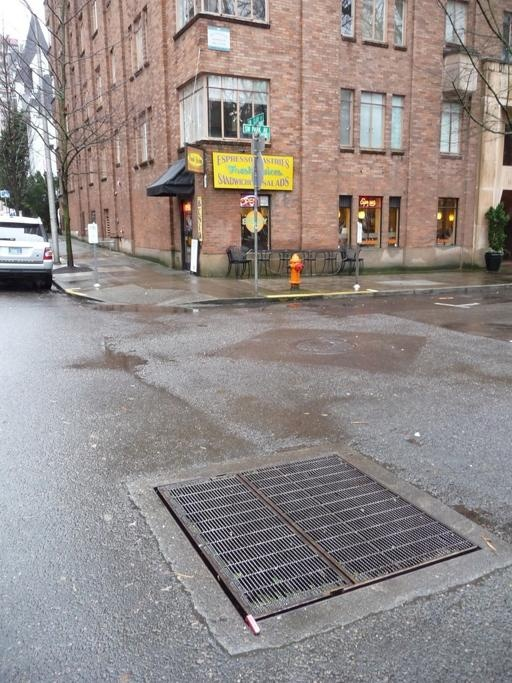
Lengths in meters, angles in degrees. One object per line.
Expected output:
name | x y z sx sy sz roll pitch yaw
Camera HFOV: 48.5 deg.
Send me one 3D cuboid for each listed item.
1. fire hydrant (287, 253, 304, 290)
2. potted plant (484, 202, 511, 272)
fire hydrant | 1.008 -1.827 14.902 0.281 0.926 0.912 1 10 5
potted plant | 9.702 -4.308 23.234 0.796 2.667 3.223 4 11 22
